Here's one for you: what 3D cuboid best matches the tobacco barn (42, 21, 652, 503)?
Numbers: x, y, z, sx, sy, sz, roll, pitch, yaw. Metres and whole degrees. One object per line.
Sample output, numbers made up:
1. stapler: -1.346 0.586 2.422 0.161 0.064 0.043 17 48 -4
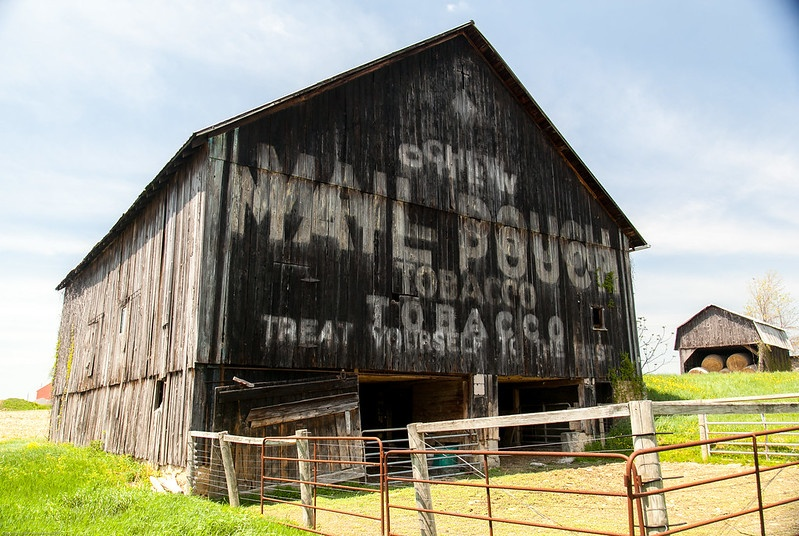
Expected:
1. tobacco barn: -2.363 1.113 29.484 24.398 15.539 24.789 -9 -17 31
